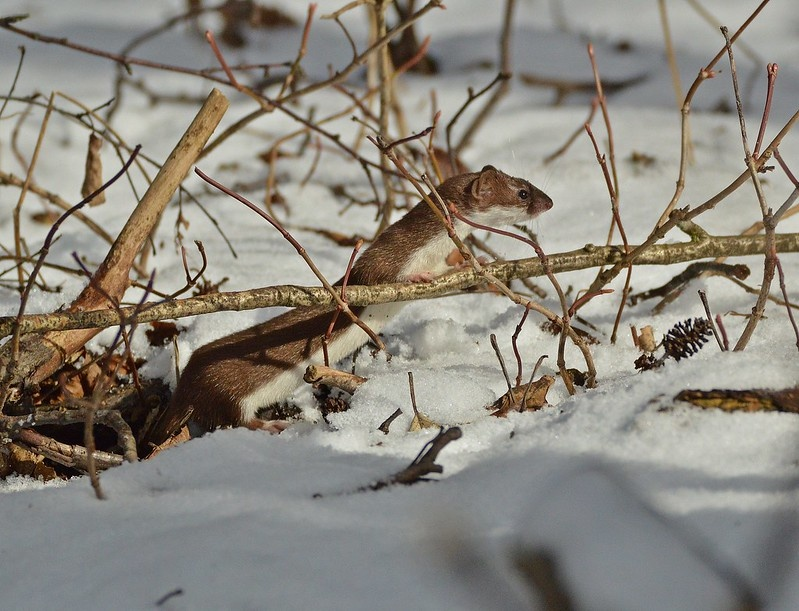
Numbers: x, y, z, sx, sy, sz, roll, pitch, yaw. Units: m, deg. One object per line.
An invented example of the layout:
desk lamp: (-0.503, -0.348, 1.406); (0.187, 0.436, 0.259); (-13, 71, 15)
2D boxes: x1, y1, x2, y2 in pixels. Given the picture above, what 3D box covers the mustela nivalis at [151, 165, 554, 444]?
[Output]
mustela nivalis: (-0.259, 0.023, 4.259); (2.208, 0.770, 0.541); (-34, 56, -16)
